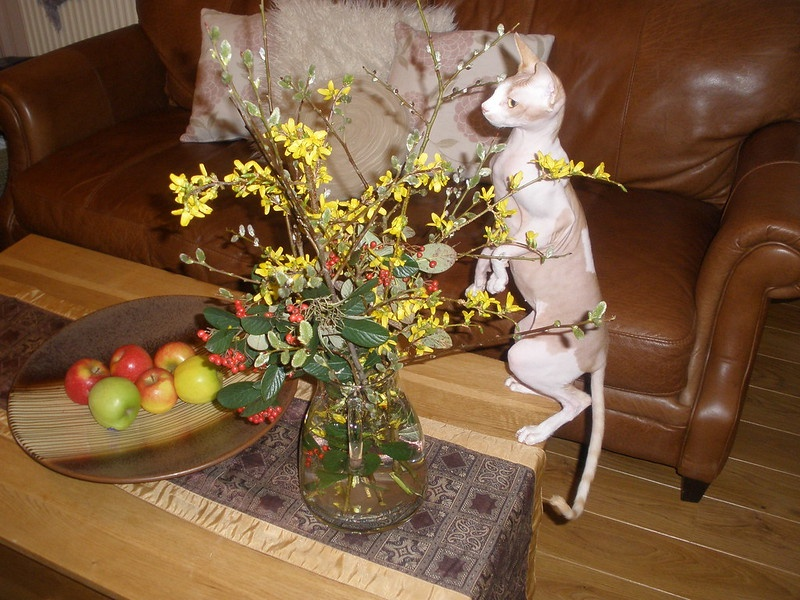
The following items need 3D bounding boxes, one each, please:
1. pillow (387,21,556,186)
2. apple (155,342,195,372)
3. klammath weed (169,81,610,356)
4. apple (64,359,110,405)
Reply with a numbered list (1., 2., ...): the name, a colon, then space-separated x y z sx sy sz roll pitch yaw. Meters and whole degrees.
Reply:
1. pillow: 0.182 -0.685 2.124 0.841 0.626 0.328 -2 38 -5
2. apple: -0.477 0.116 1.283 0.078 0.061 0.062 -8 17 -2
3. klammath weed: -0.004 -0.198 1.273 1.090 0.584 0.480 1 40 -4
4. apple: -0.618 0.164 1.211 0.068 0.062 0.066 -31 4 38
